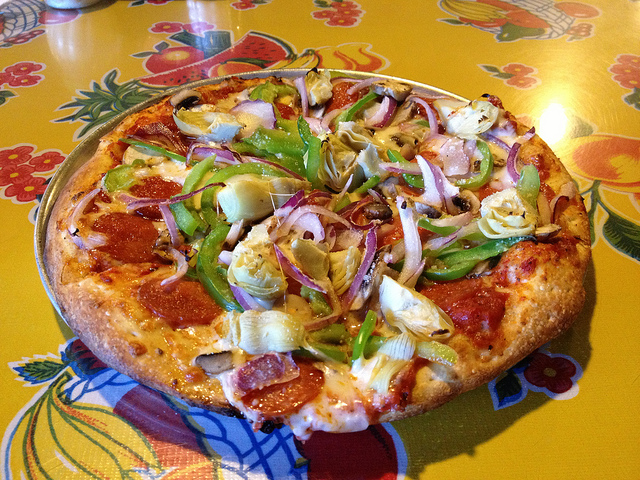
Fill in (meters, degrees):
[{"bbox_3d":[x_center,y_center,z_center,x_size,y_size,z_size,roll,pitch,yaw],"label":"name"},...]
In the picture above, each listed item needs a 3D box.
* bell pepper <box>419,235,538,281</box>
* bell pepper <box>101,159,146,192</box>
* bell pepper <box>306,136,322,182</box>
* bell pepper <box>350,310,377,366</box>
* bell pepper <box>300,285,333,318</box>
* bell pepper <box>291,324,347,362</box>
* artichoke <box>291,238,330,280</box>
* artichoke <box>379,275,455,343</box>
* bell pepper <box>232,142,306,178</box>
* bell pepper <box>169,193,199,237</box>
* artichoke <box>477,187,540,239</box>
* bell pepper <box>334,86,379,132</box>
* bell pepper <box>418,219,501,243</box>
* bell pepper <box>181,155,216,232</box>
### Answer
[{"bbox_3d":[0.718,0.066,2.952,0.555,0.184,0.108,-10,42,-11],"label":"bell pepper"},{"bbox_3d":[-0.999,-0.300,3.362,0.233,0.083,0.384,13,0,-10],"label":"bell pepper"},{"bbox_3d":[-0.034,-0.401,3.202,0.085,0.187,0.047,8,0,11],"label":"bell pepper"},{"bbox_3d":[0.187,0.400,2.710,0.073,0.073,0.277,35,60,-3],"label":"bell pepper"},{"bbox_3d":[-0.021,0.272,2.878,0.094,0.058,0.156,-21,65,-31],"label":"bell pepper"},{"bbox_3d":[0.010,0.433,2.745,0.180,0.048,0.160,4,40,6],"label":"bell pepper"},{"bbox_3d":[-0.030,0.087,2.901,0.148,0.207,0.072,-50,23,-9],"label":"artichoke"},{"bbox_3d":[0.395,0.299,2.793,0.228,0.130,0.394,-39,64,-22],"label":"artichoke"},{"bbox_3d":[-0.415,-0.374,3.408,0.420,0.096,0.090,-13,-3,22],"label":"bell pepper"},{"bbox_3d":[-0.641,-0.116,3.027,0.092,0.060,0.209,-4,47,-28],"label":"bell pepper"},{"bbox_3d":[0.880,-0.120,2.961,0.276,0.156,0.246,10,41,12],"label":"artichoke"},{"bbox_3d":[0.205,-0.734,3.625,0.081,0.065,0.453,36,57,20],"label":"bell pepper"},{"bbox_3d":[0.654,-0.045,2.970,0.355,0.046,0.052,10,81,12],"label":"bell pepper"},{"bbox_3d":[-0.601,-0.300,3.174,0.052,0.322,0.135,22,41,3],"label":"bell pepper"}]
